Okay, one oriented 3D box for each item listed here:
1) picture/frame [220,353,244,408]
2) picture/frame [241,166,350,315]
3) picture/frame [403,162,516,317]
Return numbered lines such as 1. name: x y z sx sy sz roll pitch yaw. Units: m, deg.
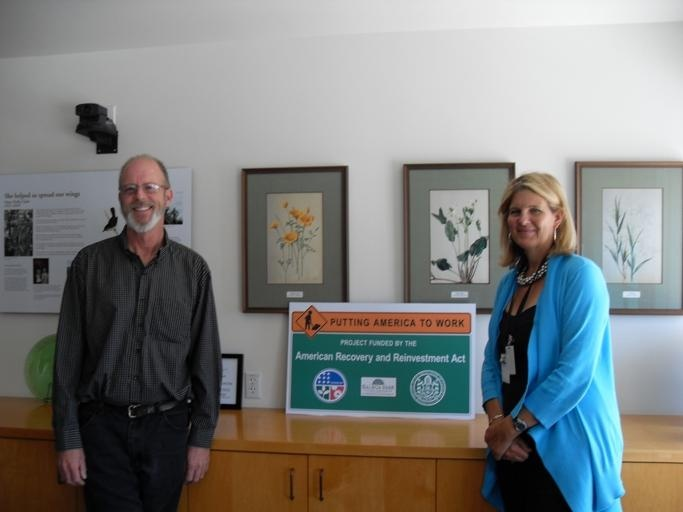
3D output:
1. picture/frame: -0.705 0.780 3.497 0.018 0.302 0.207 -8 -15 32
2. picture/frame: -0.250 -0.095 3.511 0.774 1.181 0.043 0 0 2
3. picture/frame: 0.709 -0.120 3.434 0.658 1.006 0.028 0 -30 10
